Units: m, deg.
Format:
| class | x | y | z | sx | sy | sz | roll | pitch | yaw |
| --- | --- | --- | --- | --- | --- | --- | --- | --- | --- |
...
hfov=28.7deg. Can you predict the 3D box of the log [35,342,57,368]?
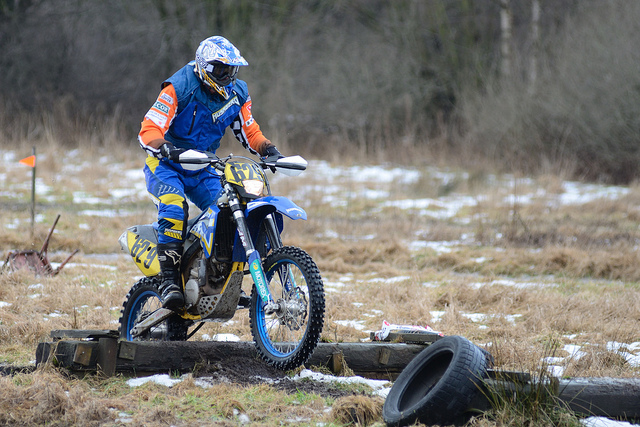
| class | x | y | z | sx | sy | sz | roll | pitch | yaw |
| --- | --- | --- | --- | --- | --- | --- | --- | --- | --- |
| log | -4.466 | 2.320 | 20.192 | 0.339 | 0.347 | 0.081 | -19 | -18 | 39 |
